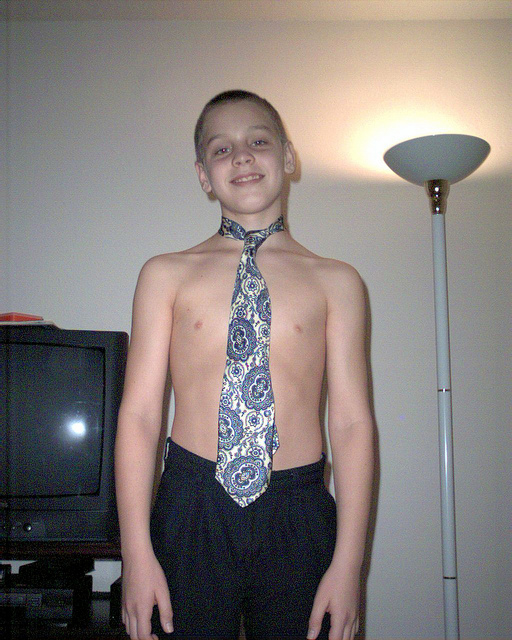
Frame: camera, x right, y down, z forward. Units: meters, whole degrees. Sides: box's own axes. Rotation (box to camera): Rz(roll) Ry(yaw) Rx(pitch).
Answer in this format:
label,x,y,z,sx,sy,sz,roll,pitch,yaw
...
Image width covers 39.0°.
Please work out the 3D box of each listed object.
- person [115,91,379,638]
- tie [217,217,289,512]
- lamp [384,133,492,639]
label,x,y,z,sx,sy,sz,roll,pitch,yaw
person,-0.022,0.052,1.603,0.543,1.219,0.331,-2,-5,4
tie,-0.008,0.070,1.575,0.146,0.645,0.231,-1,-5,1
lamp,0.540,0.218,2.059,0.283,1.412,0.357,-2,-5,11
